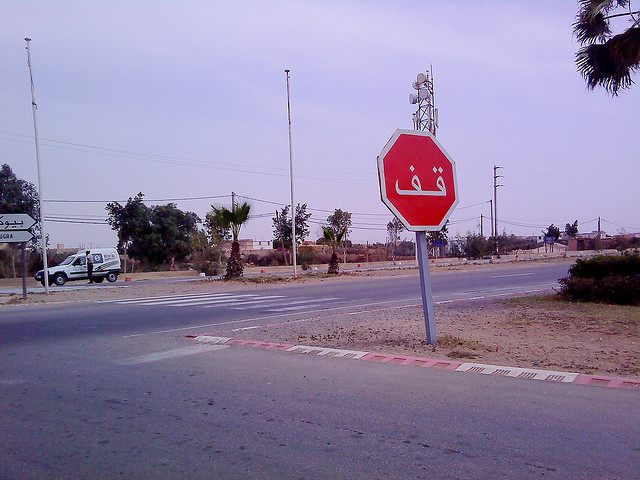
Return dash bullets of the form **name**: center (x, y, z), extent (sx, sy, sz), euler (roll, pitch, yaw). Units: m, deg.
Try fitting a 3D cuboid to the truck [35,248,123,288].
- **truck**: center (-16.442, 1.912, 37.455), extent (1.269, 2.135, 4.823), euler (-1, 1, 42)
